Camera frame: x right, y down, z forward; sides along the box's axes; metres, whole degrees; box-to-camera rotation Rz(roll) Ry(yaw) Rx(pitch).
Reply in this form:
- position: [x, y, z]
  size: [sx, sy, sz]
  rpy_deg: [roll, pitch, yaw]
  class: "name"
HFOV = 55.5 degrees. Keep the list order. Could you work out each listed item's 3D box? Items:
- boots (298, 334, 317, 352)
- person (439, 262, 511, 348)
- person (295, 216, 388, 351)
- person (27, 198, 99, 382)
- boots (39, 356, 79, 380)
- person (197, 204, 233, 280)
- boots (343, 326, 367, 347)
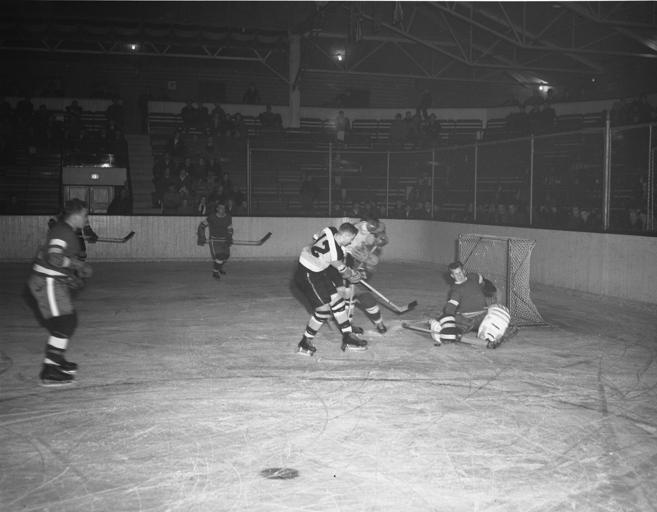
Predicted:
- position: [-0.313, 1.318, 9.295]
  size: [0.267, 0.281, 0.246]
  rpy_deg: [0, 7, -1]
  class: "boots"
- position: [2.316, 0.839, 10.017]
  size: [0.885, 0.598, 1.500]
  rpy_deg: [-16, 38, 17]
  class: "person"
- position: [0.070, 0.443, 9.753]
  size: [1.111, 1.967, 1.562]
  rpy_deg: [0, 7, 4]
  class: "person"
- position: [-3.502, 0.490, 8.113]
  size: [0.612, 2.175, 0.931]
  rpy_deg: [1, 8, 10]
  class: "person"
- position: [-3.434, 1.472, 7.998]
  size: [0.457, 0.247, 0.348]
  rpy_deg: [-5, 9, -34]
  class: "boots"
- position: [-3.190, -0.417, 17.609]
  size: [0.922, 2.241, 0.852]
  rpy_deg: [-4, 26, -21]
  class: "person"
- position: [0.376, 1.280, 9.618]
  size: [0.425, 0.343, 0.201]
  rpy_deg: [-1, 2, -6]
  class: "boots"
